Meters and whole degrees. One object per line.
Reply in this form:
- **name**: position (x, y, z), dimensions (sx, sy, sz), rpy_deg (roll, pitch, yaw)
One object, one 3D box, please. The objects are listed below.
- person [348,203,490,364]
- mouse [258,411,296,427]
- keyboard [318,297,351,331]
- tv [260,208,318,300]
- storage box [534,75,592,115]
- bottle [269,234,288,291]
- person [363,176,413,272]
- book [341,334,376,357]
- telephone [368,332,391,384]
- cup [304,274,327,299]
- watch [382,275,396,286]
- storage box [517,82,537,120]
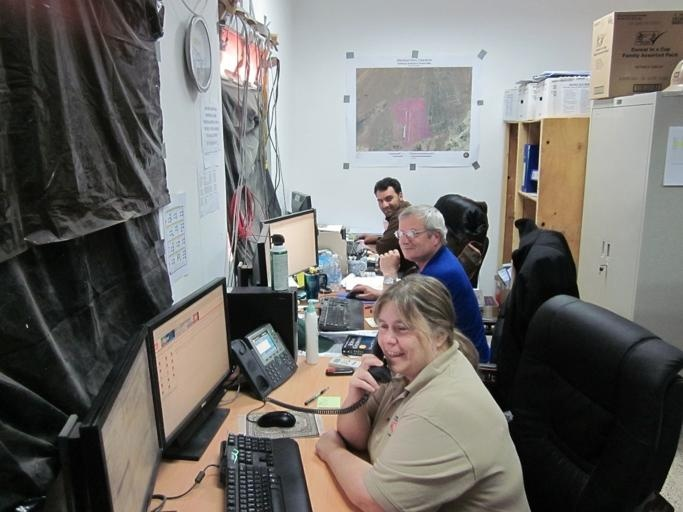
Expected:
- **person**: position (0.517, 0.360, 2.988), dimensions (0.750, 1.398, 0.535), rpy_deg (-10, 18, -12)
- **mouse**: position (-0.245, 0.618, 1.846), dimensions (0.108, 0.042, 0.064), rpy_deg (5, 6, -5)
- **keyboard**: position (-0.023, 0.333, 2.893), dimensions (0.234, 0.080, 0.380), rpy_deg (3, 26, -1)
- **tv**: position (-0.373, -0.042, 3.272), dimensions (0.566, 0.397, 0.273), rpy_deg (-11, -10, 22)
- **storage box**: position (1.847, -1.321, 4.115), dimensions (0.456, 0.309, 0.472), rpy_deg (-6, 14, -17)
- **bottle**: position (-0.299, 0.022, 2.328), dimensions (0.081, 0.229, 0.209), rpy_deg (-3, 15, -9)
- **person**: position (0.502, -0.212, 4.271), dimensions (0.450, 0.913, 0.367), rpy_deg (-19, 17, -31)
- **book**: position (0.082, 0.442, 2.422), dimensions (0.108, 0.034, 0.120), rpy_deg (-1, 16, 6)
- **telephone**: position (0.131, 0.390, 1.820), dimensions (0.049, 0.203, 0.070), rpy_deg (-12, -7, 11)
- **cup**: position (-0.143, 0.176, 3.168), dimensions (0.172, 0.192, 0.102), rpy_deg (-2, 7, -18)
- **watch**: position (0.301, 0.151, 3.070), dimensions (0.056, 0.038, 0.057), rpy_deg (-14, -10, 13)
- **storage box**: position (1.621, -1.402, 4.418), dimensions (0.187, 0.321, 0.195), rpy_deg (-2, 22, -12)
